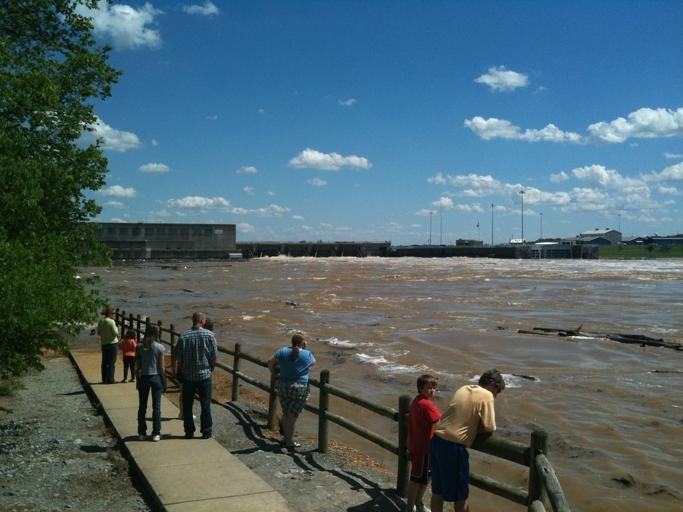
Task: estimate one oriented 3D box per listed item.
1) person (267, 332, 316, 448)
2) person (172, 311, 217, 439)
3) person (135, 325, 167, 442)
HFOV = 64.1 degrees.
[{"bbox_3d":[-1.025,2.671,10.878,0.681,2.436,1.067,-2,5,-21],"label":"person"},{"bbox_3d":[-2.872,2.348,10.749,0.769,2.464,0.732,-1,5,-16],"label":"person"},{"bbox_3d":[-3.780,2.437,10.750,0.554,2.168,0.849,-2,5,-19],"label":"person"}]
